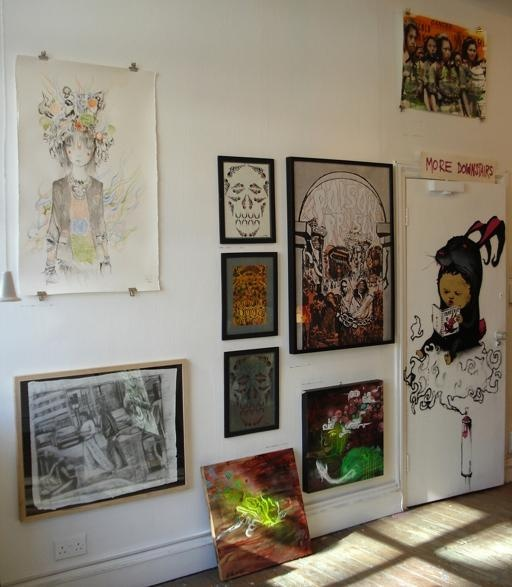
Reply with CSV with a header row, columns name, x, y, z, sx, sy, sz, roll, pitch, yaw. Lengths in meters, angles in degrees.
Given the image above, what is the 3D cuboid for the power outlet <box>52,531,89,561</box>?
name,x,y,z,sx,sy,sz,roll,pitch,yaw
power outlet,-0.742,1.022,2.003,0.127,0.091,0.006,0,-1,-29
